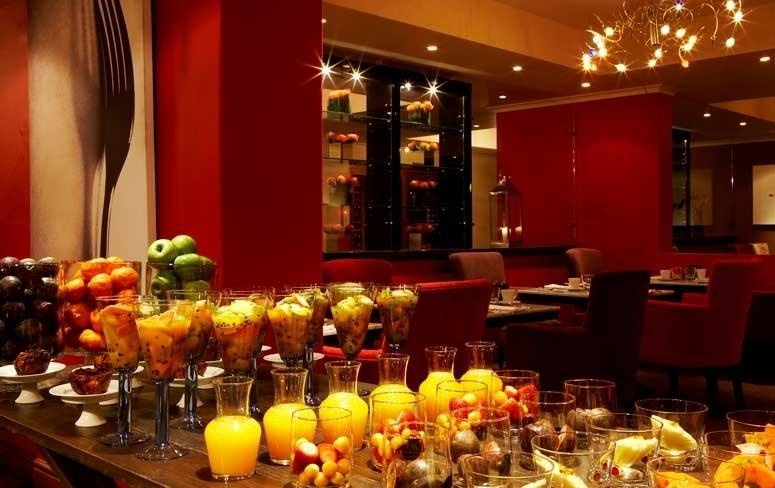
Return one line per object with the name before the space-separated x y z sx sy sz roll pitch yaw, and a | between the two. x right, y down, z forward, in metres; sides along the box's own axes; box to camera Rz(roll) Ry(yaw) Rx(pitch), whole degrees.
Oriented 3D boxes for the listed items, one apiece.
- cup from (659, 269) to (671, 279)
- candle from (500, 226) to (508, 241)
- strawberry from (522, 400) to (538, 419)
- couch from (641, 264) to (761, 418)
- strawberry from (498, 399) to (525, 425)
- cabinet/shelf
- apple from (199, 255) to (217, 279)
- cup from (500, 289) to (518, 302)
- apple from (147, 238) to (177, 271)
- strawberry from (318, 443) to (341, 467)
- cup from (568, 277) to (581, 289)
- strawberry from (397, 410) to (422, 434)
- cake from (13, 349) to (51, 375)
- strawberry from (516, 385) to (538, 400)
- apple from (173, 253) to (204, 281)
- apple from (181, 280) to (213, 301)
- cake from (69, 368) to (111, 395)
cup | 3.287 0.357 6.770 0.126 0.099 0.121 -3 6 0
candle | 1.774 -0.162 8.679 0.103 0.226 0.335 0 2 14
strawberry | 0.425 0.495 1.714 0.049 0.055 0.048 2 -6 -21
couch | 2.708 0.734 5.053 0.959 1.205 0.971 -1 1 24
strawberry | 0.378 0.502 1.742 0.065 0.066 0.073 -12 11 18
cabinet/shelf | 0.055 -1.092 7.053 2.333 2.216 0.755 5 -5 -45
apple | -0.744 0.092 2.398 0.086 0.087 0.076 10 -6 -44
cup | 1.053 0.447 4.936 0.102 0.101 0.126 -1 -11 9
apple | -0.936 0.068 2.402 0.119 0.115 0.119 9 38 -24
strawberry | -0.158 0.570 1.544 0.044 0.046 0.024 16 -27 -20
cup | 1.876 0.391 5.743 0.107 0.095 0.117 0 -6 0
strawberry | 0.059 0.489 1.568 0.053 0.037 0.087 -1 2 0
cake | -1.390 0.456 2.237 0.097 0.056 0.102 5 8 22
strawberry | 0.430 0.453 1.754 0.057 0.037 0.074 0 2 9
apple | -0.807 0.094 2.367 0.106 0.104 0.103 -2 6 2
apple | -0.720 0.172 2.183 0.096 0.079 0.101 1 -5 -4
cake | -1.068 0.490 2.054 0.094 0.050 0.101 3 -6 1
